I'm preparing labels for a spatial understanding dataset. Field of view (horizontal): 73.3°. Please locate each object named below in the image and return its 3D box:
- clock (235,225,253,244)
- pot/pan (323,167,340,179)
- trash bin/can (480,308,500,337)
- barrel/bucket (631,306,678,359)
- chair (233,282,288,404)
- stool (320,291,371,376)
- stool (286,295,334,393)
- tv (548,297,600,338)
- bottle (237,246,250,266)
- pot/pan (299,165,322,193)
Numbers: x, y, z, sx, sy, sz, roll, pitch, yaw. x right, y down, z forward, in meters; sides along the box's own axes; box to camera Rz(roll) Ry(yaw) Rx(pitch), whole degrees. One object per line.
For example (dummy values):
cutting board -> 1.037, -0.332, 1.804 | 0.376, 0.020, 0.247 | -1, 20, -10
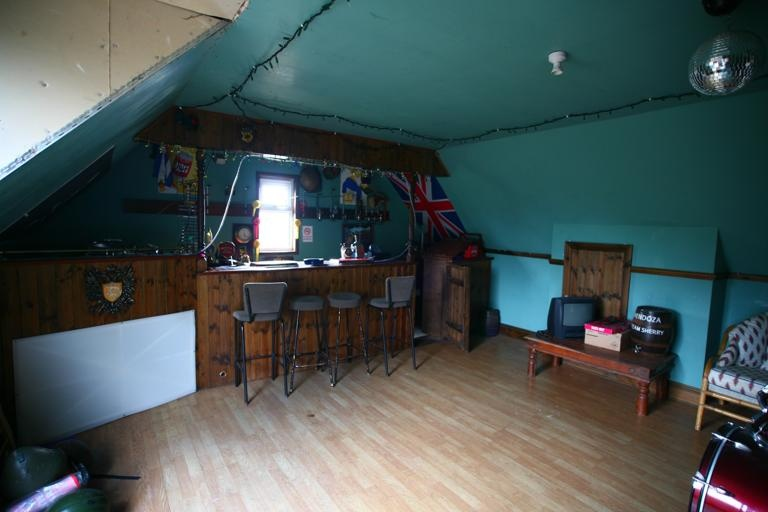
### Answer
clock -> -1.920, -0.297, 7.094 | 0.231, 0.227, 0.059 | 21, 0, 8
pot/pan -> -0.790, -1.258, 7.874 | 0.086, 0.183, 0.313 | 4, 2, 44
trash bin/can -> 1.560, 0.975, 7.561 | 0.317, 0.354, 0.327 | 0, 5, -2
barrel/bucket -> 2.880, 0.810, 5.572 | 0.453, 0.510, 0.495 | 2, -2, 0
chair -> -1.336, 0.891, 5.606 | 0.606, 1.264, 0.665 | 2, 2, -16
stool -> -0.489, 0.942, 6.191 | 0.662, 0.928, 0.680 | 3, 6, 9
stool -> -0.877, 0.964, 5.965 | 0.606, 1.002, 0.603 | -2, 8, -31
tv -> 2.356, 0.779, 6.189 | 0.498, 0.472, 0.370 | -9, -21, 44
bottle -> -1.767, -0.003, 6.452 | 0.117, 0.223, 0.396 | 5, -9, -24
pot/pan -> -1.083, -1.141, 7.615 | 0.084, 0.375, 0.295 | 0, 17, 46
